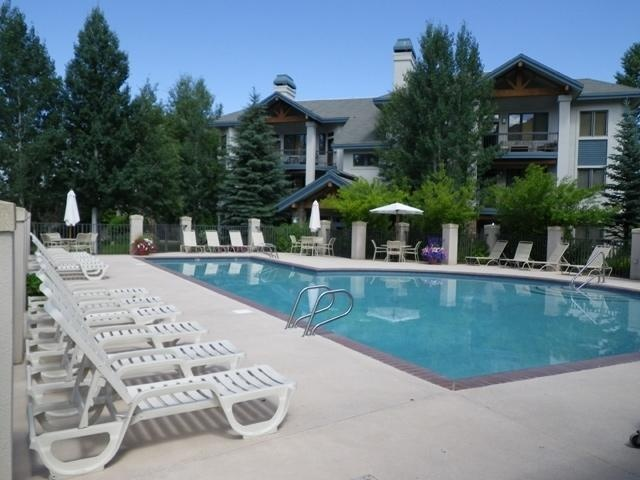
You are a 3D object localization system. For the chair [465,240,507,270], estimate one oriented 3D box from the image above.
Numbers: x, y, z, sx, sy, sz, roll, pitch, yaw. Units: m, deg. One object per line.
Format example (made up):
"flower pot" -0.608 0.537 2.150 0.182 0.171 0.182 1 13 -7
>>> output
"chair" 7.604 0.644 23.406 1.559 1.149 1.103 0 -1 -3

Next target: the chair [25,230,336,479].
"chair" -2.002 1.176 6.109 2.471 1.857 2.809 -2 5 -32

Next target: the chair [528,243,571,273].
"chair" 9.437 0.731 21.068 1.657 1.197 1.094 -3 2 -14
